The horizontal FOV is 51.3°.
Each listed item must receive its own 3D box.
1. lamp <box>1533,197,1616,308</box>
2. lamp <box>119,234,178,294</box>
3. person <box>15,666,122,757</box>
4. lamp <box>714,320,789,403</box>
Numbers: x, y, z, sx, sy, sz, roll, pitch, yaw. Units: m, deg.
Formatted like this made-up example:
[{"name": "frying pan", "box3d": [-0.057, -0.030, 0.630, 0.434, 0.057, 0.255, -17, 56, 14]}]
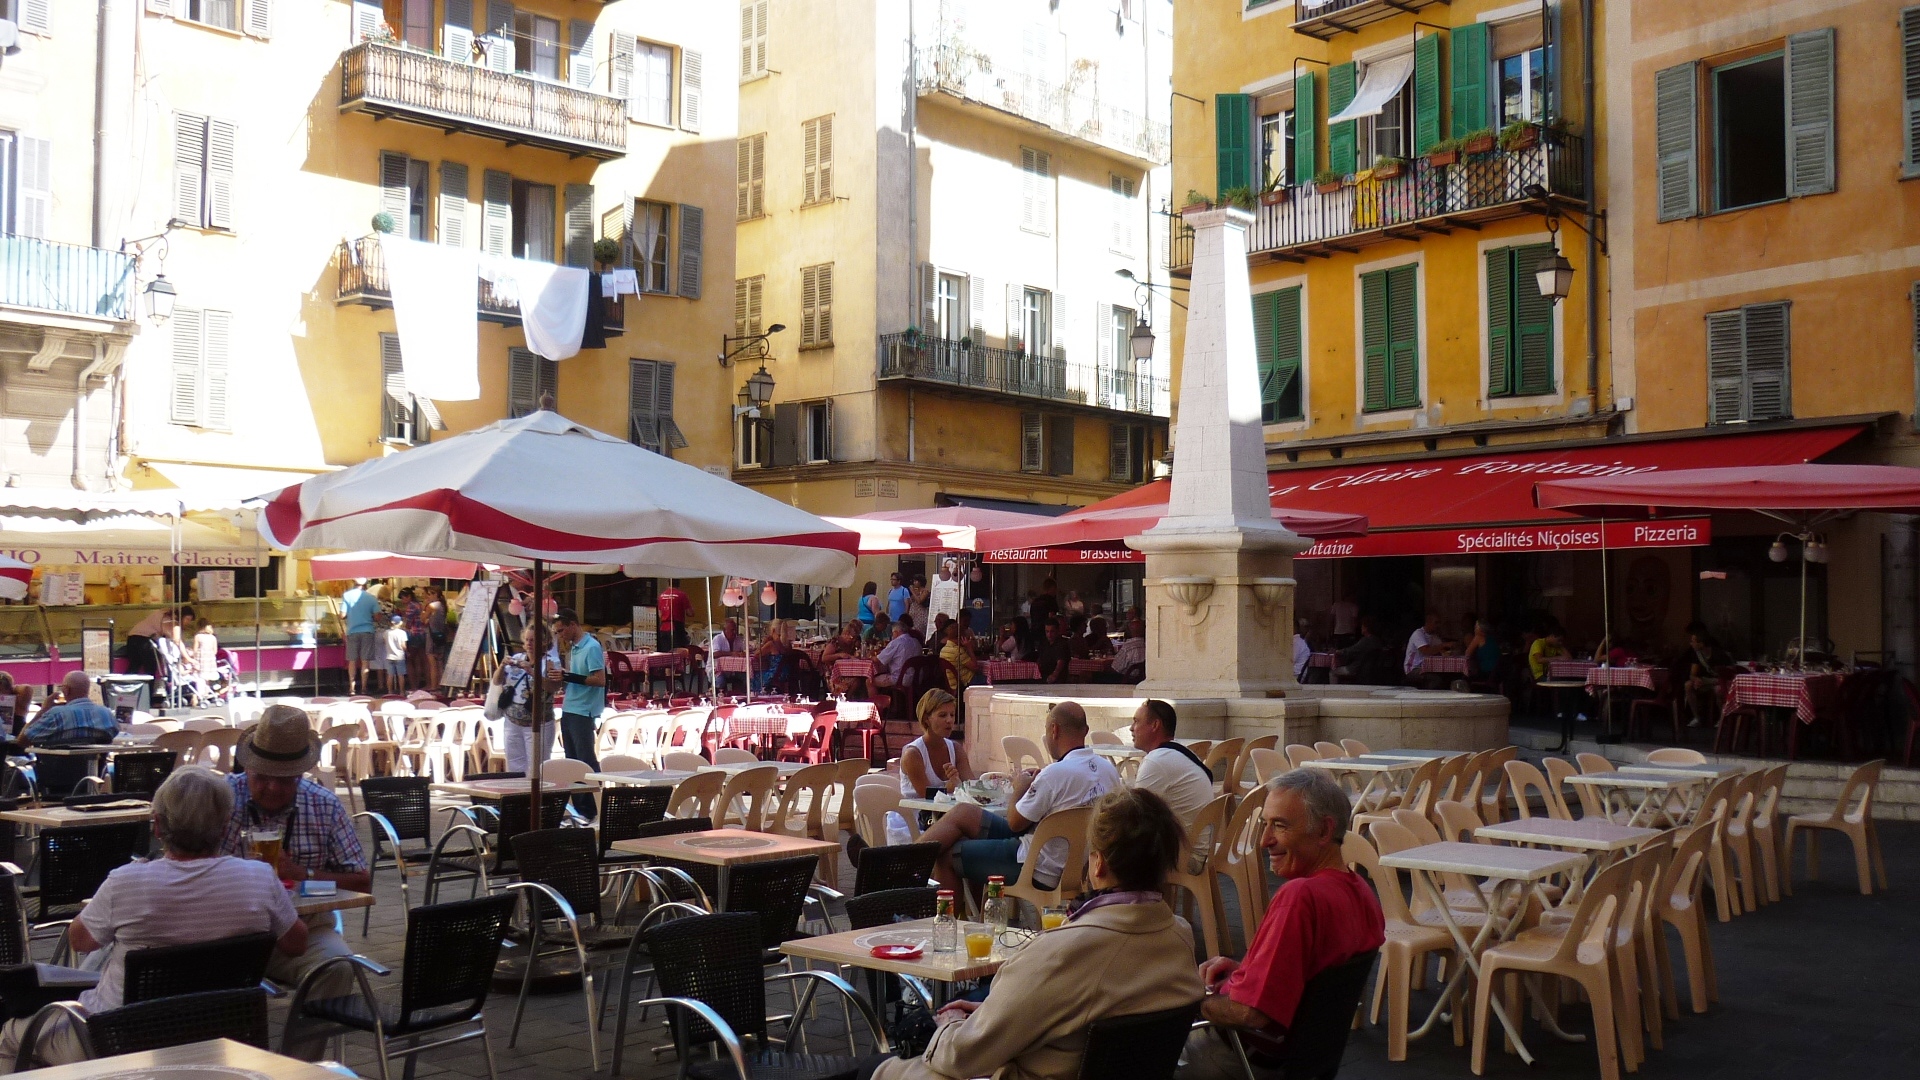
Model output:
[{"name": "lamp", "box3d": [10.811, -5.377, 36.152, 1.245, 2.238, 2.590, -3, -5, 24]}, {"name": "lamp", "box3d": [-15.997, -5.607, 39.561, 1.018, 1.622, 1.721, 1, -5, -22]}, {"name": "person", "box3d": [-12.068, 2.492, 27.254, 1.629, 1.379, 0.925, 2, -6, -22]}, {"name": "lamp", "box3d": [-5.063, -4.273, 48.286, 1.766, 1.777, 0.556, 2, 3, -31]}]
